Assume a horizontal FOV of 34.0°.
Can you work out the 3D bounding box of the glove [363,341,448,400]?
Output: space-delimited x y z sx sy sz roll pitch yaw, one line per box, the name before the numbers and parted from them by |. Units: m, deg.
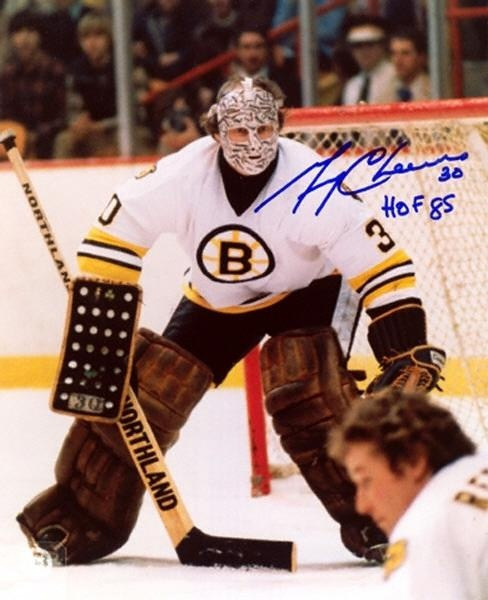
glove | 0.355 0.141 1.720 0.090 0.086 0.268 19 20 41
